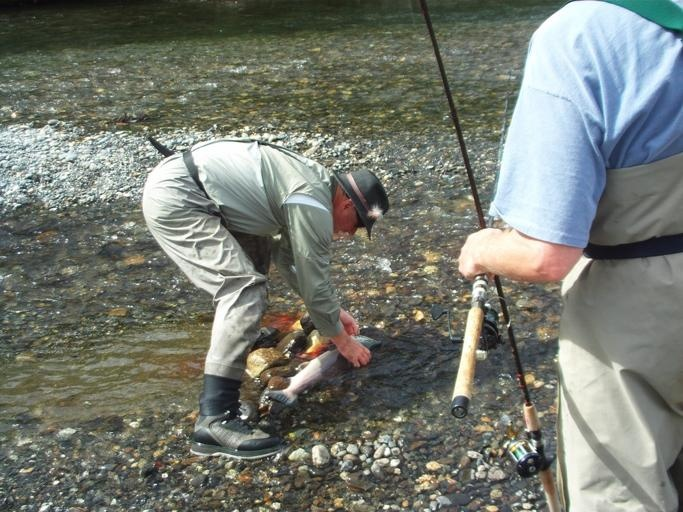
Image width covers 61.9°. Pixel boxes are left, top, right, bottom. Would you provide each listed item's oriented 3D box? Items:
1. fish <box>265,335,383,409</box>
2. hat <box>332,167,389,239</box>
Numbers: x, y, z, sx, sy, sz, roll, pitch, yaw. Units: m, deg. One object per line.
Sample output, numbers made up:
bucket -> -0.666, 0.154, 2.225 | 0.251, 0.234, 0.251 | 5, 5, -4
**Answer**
fish -> -0.131, 0.780, 3.880 | 0.822, 0.227, 0.167 | -25, 0, -33
hat -> 0.174, -0.360, 3.898 | 0.244, 0.435, 0.426 | -29, 6, 1
